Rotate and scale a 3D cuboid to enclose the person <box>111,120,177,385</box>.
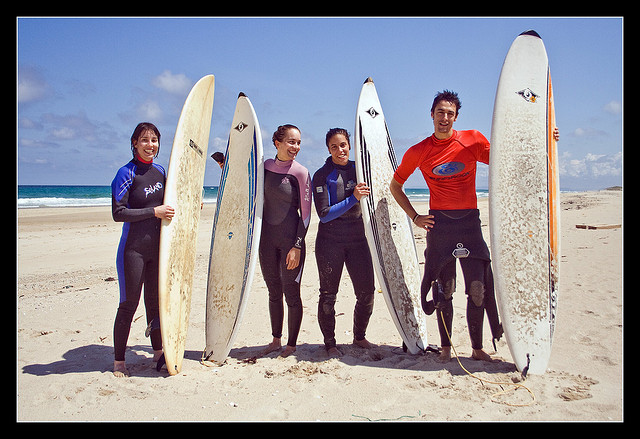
[{"bbox_3d":[-1.697,0.292,4.770,0.640,2.408,0.633,-3,8,-18],"label":"person"}]

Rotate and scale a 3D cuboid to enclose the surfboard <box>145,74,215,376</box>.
[{"bbox_3d":[-1.425,0.262,5.027,0.625,3.048,0.352,8,-8,-23],"label":"surfboard"}]

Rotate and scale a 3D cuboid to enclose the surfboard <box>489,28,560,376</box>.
[{"bbox_3d":[1.945,-0.073,4.725,0.762,3.283,0.334,1,3,-1],"label":"surfboard"}]

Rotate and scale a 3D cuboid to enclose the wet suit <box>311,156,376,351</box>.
[{"bbox_3d":[0.249,0.351,5.193,0.661,2.012,0.406,-1,8,-1],"label":"wet suit"}]

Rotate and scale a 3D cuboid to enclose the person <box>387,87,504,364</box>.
[{"bbox_3d":[1.305,0.080,4.941,1.039,2.651,0.463,1,8,8],"label":"person"}]

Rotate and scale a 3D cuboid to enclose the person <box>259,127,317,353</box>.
[{"bbox_3d":[-0.361,0.221,5.120,0.532,2.316,0.321,0,8,7],"label":"person"}]

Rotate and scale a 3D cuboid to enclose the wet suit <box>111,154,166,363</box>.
[{"bbox_3d":[-1.731,0.371,4.817,0.604,1.980,0.367,-5,9,-31],"label":"wet suit"}]
